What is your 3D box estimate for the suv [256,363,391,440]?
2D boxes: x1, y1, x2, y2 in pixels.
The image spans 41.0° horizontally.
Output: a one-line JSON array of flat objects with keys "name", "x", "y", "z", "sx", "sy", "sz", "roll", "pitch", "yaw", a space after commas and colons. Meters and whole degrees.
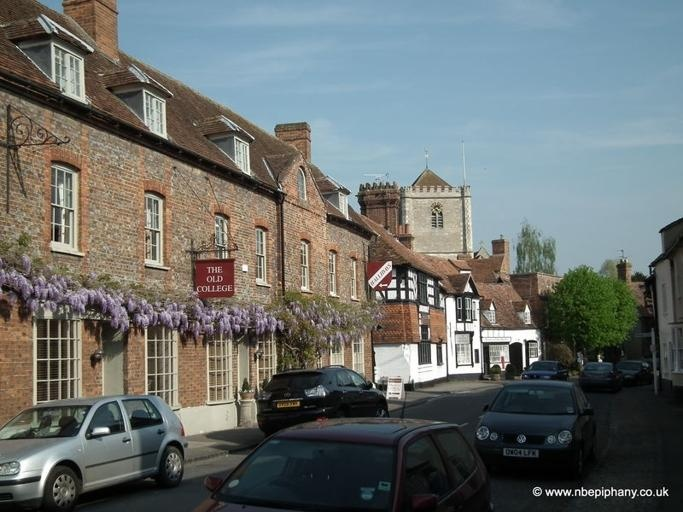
[{"name": "suv", "x": -0.217, "y": 3.749, "z": 24.192, "sx": 1.616, "sy": 1.415, "sz": 3.272, "roll": -4, "pitch": -5, "yaw": 32}]

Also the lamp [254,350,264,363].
[{"name": "lamp", "x": -2.643, "y": 3.204, "z": 29.248, "sx": 0.242, "sy": 0.357, "sz": 0.329, "roll": -4, "pitch": 6, "yaw": -26}]

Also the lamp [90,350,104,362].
[{"name": "lamp", "x": -5.958, "y": 2.470, "z": 22.352, "sx": 0.127, "sy": 0.225, "sz": 0.356, "roll": 13, "pitch": 4, "yaw": 34}]

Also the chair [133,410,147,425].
[{"name": "chair", "x": -4.059, "y": 3.282, "z": 18.479, "sx": 0.236, "sy": 0.345, "sz": 0.275, "roll": 10, "pitch": -19, "yaw": -1}]

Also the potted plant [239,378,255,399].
[{"name": "potted plant", "x": -2.866, "y": 4.101, "z": 27.993, "sx": 0.508, "sy": 0.718, "sz": 0.540, "roll": 4, "pitch": -10, "yaw": -35}]

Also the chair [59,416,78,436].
[{"name": "chair", "x": -5.157, "y": 3.258, "z": 17.370, "sx": 0.257, "sy": 0.327, "sz": 0.310, "roll": 3, "pitch": -31, "yaw": -8}]
